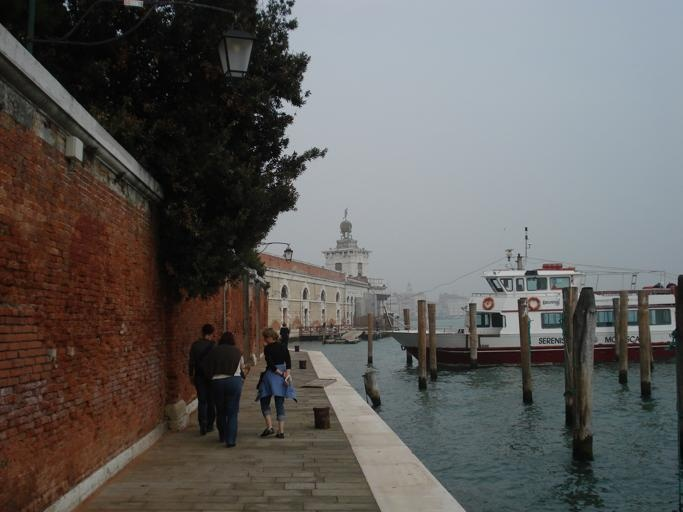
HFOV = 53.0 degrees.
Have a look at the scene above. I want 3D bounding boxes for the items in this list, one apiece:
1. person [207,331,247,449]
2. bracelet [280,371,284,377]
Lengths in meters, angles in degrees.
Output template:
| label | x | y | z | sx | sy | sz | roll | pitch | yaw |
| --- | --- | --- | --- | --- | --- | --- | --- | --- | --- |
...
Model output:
| label | x | y | z | sx | sy | sz | roll | pitch | yaw |
| --- | --- | --- | --- | --- | --- | --- | --- | --- | --- |
| person | -2.228 | 2.632 | 12.940 | 0.607 | 1.971 | 0.537 | 5 | -2 | -13 |
| bracelet | -1.166 | 2.302 | 13.397 | 0.091 | 0.054 | 0.133 | 5 | 0 | 17 |
